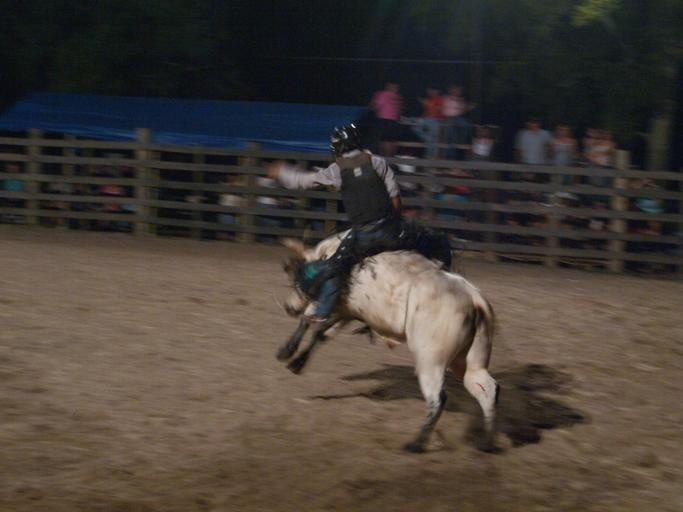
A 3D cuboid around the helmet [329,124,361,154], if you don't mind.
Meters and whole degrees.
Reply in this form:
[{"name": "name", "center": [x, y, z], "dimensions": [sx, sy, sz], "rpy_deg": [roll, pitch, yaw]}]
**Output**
[{"name": "helmet", "center": [0.033, -1.084, 8.206], "dimensions": [0.282, 0.290, 0.177], "rpy_deg": [2, 5, 3]}]
